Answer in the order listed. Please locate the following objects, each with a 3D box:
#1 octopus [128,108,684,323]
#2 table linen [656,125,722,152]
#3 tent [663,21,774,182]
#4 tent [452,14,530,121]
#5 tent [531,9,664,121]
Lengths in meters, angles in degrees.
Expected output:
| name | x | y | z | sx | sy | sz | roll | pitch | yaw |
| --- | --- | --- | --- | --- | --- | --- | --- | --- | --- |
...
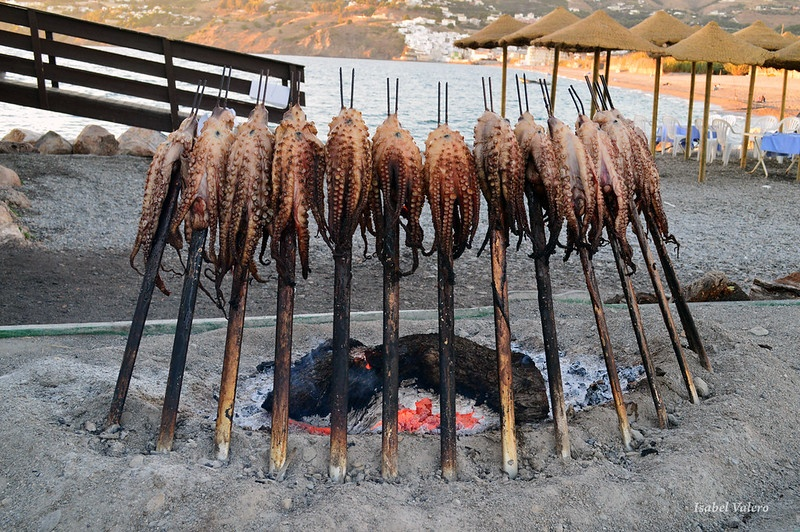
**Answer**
| name | x | y | z | sx | sy | sz | roll | pitch | yaw |
| --- | --- | --- | --- | --- | --- | --- | --- | --- | --- |
| octopus | 0.534 | -0.444 | 4.560 | 4.595 | 2.103 | 1.454 | -2 | 3 | -6 |
| table linen | 9.020 | -4.156 | 18.573 | 1.274 | 0.852 | 1.296 | -10 | 15 | -19 |
| tent | 6.870 | -3.649 | 12.775 | 2.073 | 3.350 | 1.977 | -8 | 12 | -32 |
| tent | 3.256 | -6.172 | 17.843 | 2.662 | 3.218 | 2.609 | 0 | 22 | 14 |
| tent | 4.348 | -4.960 | 12.759 | 2.483 | 1.353 | 2.461 | 9 | 26 | 13 |
